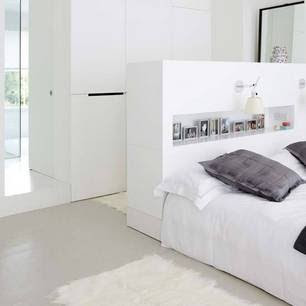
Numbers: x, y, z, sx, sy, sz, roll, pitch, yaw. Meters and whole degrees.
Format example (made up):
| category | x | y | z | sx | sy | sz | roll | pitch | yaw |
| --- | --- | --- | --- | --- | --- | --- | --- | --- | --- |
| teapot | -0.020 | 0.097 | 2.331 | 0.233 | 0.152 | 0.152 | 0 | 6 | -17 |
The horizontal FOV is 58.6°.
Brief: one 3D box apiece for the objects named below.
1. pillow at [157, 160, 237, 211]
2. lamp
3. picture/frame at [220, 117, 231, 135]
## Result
| category | x | y | z | sx | sy | sz | roll | pitch | yaw |
| --- | --- | --- | --- | --- | --- | --- | --- | --- | --- |
| pillow | 0.300 | 0.248 | 2.009 | 0.339 | 0.106 | 0.346 | -22 | 30 | -33 |
| lamp | 1.039 | -0.580 | 2.885 | 0.338 | 0.427 | 0.312 | 3 | 5 | 42 |
| picture/frame | 0.804 | -0.302 | 3.064 | 0.055 | 0.184 | 0.172 | 4 | 7 | 44 |
